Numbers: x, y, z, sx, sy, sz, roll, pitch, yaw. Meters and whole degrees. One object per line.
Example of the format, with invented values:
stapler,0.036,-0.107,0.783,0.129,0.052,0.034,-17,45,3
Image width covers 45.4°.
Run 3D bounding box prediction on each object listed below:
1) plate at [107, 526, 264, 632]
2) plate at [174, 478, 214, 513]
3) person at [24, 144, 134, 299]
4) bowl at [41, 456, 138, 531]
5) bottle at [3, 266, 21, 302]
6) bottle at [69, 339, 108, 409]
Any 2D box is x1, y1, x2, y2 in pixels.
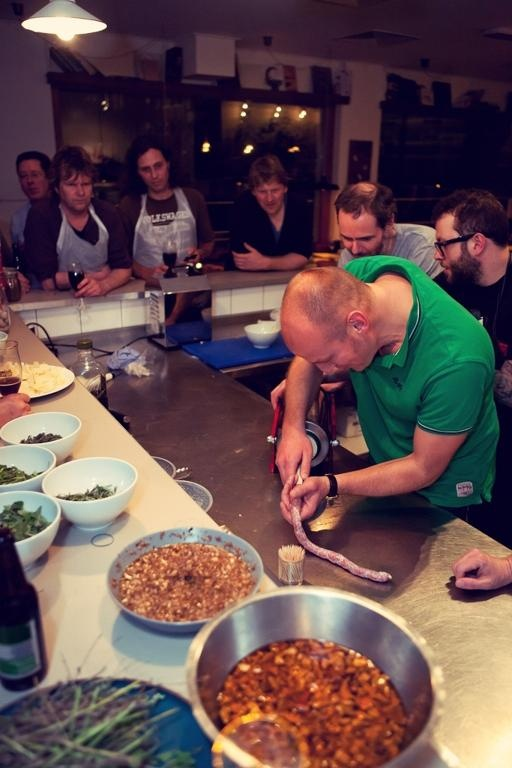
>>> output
plate,-0.114,0.312,0.992,0.164,0.036,0.154,-12,27,-27
plate,-0.149,0.278,1.541,0.075,0.010,0.073,0,35,-50
person,-0.926,-0.833,3.049,0.554,0.676,0.718,-4,20,-11
bowl,-0.332,0.209,1.215,0.151,0.065,0.144,1,27,0
bottle,-1.077,-0.438,2.694,0.058,0.135,0.127,-6,20,-16
bottle,-0.553,-0.043,2.017,0.111,0.207,0.289,-6,20,-15
